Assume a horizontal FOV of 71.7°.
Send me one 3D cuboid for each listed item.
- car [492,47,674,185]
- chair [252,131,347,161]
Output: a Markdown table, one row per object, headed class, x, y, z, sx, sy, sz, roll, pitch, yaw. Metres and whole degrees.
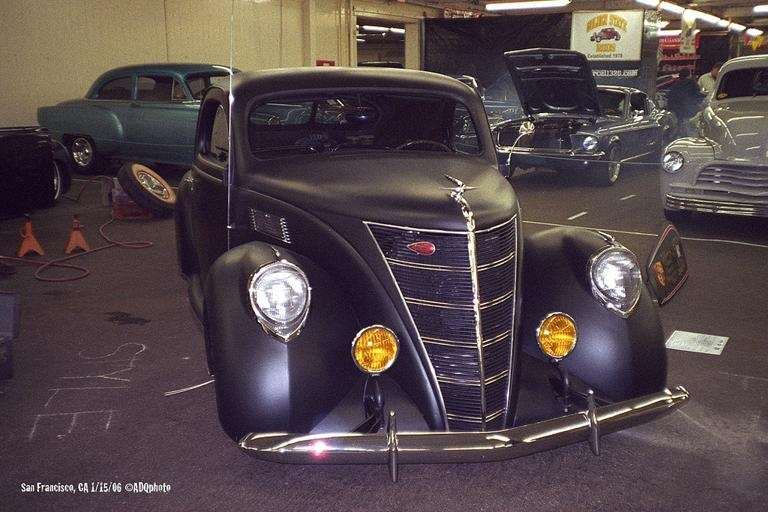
| class | x | y | z | sx | sy | sz | roll | pitch | yaw |
| --- | --- | --- | --- | --- | --- | --- | --- | --- | --- |
| car | 4.335 | -2.991 | 12.010 | 2.808 | 2.855 | 6.006 | 8 | 15 | 37 |
| chair | -0.620 | -0.798 | 3.915 | 0.654 | 0.172 | 0.371 | -12 | 22 | -38 |
